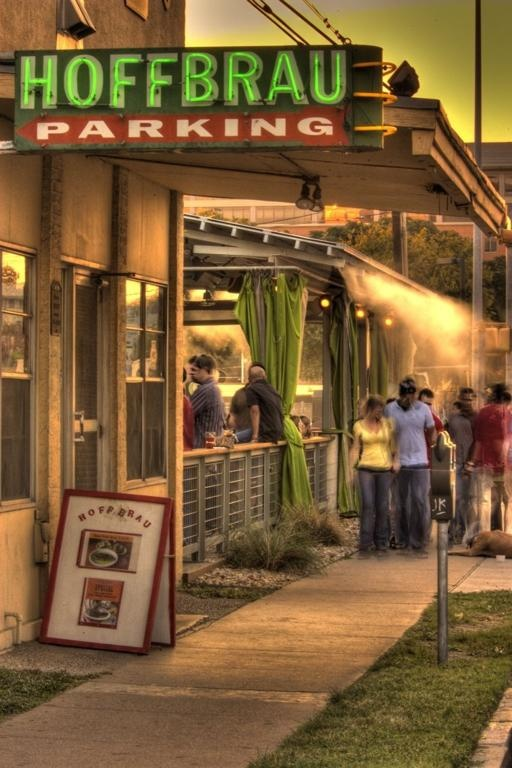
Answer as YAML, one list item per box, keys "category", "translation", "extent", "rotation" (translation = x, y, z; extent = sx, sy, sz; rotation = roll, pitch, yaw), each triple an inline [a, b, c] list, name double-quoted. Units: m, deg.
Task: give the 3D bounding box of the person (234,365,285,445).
- category: "person"
  translation: [0.024, 0.230, 13.035]
  extent: [0.588, 0.853, 1.314]
  rotation: [-1, -3, -1]

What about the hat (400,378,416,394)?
- category: "hat"
  translation: [1.636, 0.024, 12.532]
  extent: [0.126, 0.180, 0.165]
  rotation: [2, -3, 25]
